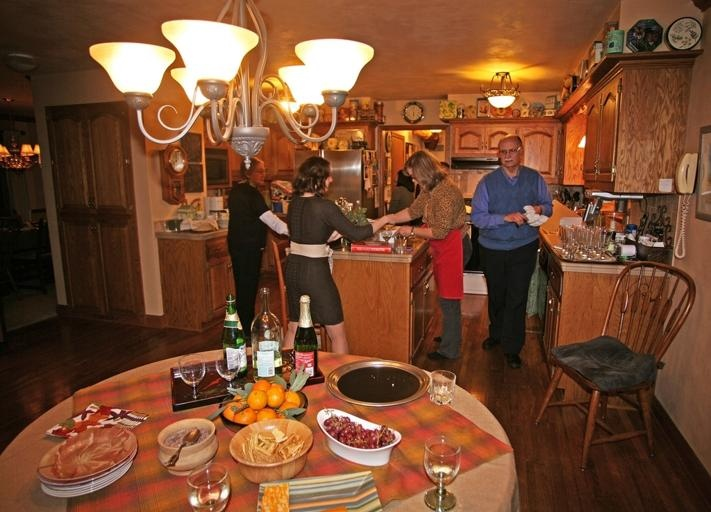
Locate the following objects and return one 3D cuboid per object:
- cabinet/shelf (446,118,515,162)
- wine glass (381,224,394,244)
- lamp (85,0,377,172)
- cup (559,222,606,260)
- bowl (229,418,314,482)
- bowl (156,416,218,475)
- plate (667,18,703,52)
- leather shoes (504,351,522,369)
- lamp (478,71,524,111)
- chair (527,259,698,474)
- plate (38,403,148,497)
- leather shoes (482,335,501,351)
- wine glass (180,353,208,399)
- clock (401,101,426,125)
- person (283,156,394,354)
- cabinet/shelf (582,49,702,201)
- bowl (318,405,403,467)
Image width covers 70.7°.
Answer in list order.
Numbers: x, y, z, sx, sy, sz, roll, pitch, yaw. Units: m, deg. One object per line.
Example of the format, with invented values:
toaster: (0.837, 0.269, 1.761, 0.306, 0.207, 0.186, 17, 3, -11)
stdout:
cabinet/shelf: (1.847, -1.668, 7.411, 0.996, 0.618, 0.369, -2, 9, -6)
wine glass: (0.271, -0.176, 4.368, 0.114, 0.133, 0.152, 2, 15, 7)
lamp: (-0.531, -0.889, 2.694, 1.243, 0.975, 1.203, 1, 5, 5)
cup: (1.757, -0.100, 3.922, 0.248, 0.110, 0.360, 5, 18, 22)
bowl: (-0.351, 0.762, 1.943, 0.333, 0.129, 0.335, -8, 11, 1)
bowl: (-0.666, 0.741, 1.981, 0.197, 0.118, 0.200, 1, 8, 0)
plate: (2.242, -1.509, 3.414, 0.225, 0.220, 0.063, 1, 13, 9)
leather shoes: (1.351, 0.890, 4.286, 0.074, 0.075, 0.176, 1, 14, 17)
lamp: (1.725, -1.960, 5.978, 0.420, 0.431, 0.431, -1, 4, -32)
chair: (1.808, 0.634, 3.360, 1.101, 1.199, 0.720, -6, 14, -20)
plate: (-1.064, 0.784, 2.060, 0.384, 0.172, 0.406, -6, 14, -21)
leather shoes: (1.256, 0.815, 4.665, 0.083, 0.089, 0.211, 6, 4, 43)
wine glass: (-0.746, 0.558, 2.306, 0.127, 0.191, 0.127, -10, -5, 41)
clock: (0.881, -2.207, 7.736, 0.340, 0.342, 0.072, -1, 13, 3)
person: (-0.186, 0.183, 3.740, 0.775, 1.725, 0.575, 5, 14, 7)
cabinet/shelf: (2.161, -1.001, 3.908, 0.543, 0.973, 0.798, 2, 13, 14)
bowl: (0.025, 0.670, 2.016, 0.291, 0.091, 0.172, 4, 3, 37)
